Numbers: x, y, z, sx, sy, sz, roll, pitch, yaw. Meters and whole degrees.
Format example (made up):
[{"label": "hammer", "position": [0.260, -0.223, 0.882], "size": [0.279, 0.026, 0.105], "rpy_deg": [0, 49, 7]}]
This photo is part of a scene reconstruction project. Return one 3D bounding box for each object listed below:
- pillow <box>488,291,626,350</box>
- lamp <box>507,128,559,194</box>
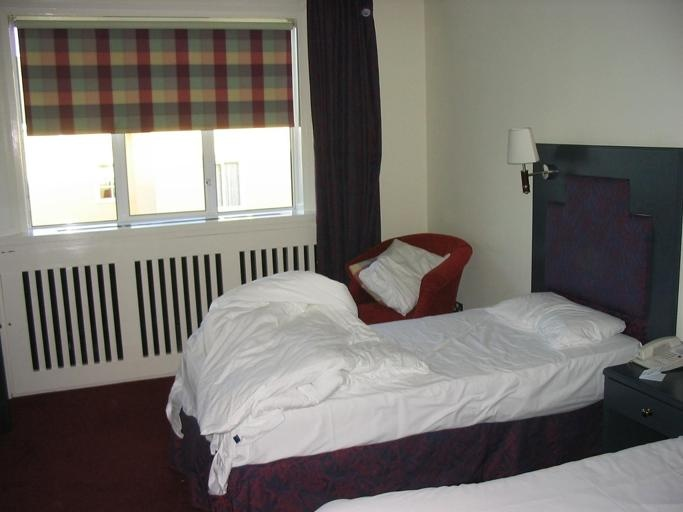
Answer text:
[{"label": "pillow", "position": [1.412, 0.428, 3.834], "size": [0.352, 0.121, 0.577], "rpy_deg": [-22, 12, -10]}, {"label": "lamp", "position": [1.343, -0.678, 4.152], "size": [0.364, 0.500, 0.417], "rpy_deg": [-5, 11, -7]}]
